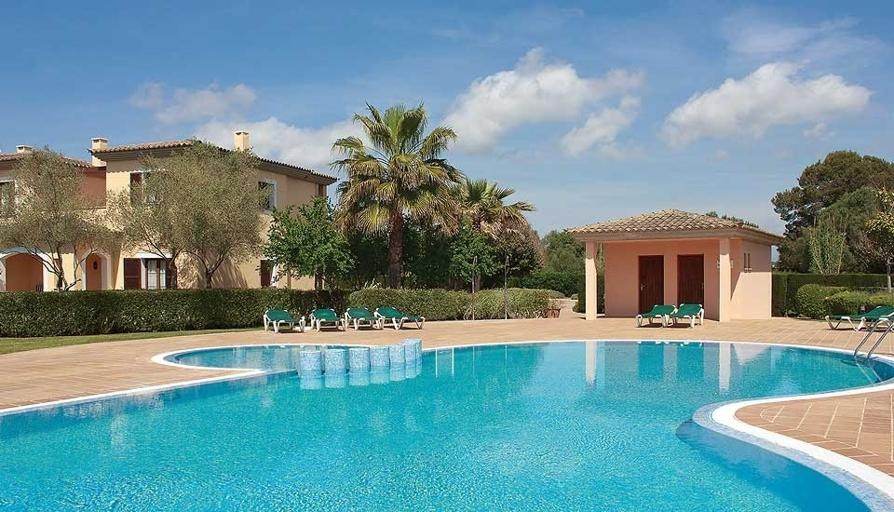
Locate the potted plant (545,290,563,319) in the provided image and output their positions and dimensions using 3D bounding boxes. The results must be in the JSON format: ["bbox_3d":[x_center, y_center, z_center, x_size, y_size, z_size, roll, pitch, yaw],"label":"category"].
[{"bbox_3d":[6.840,3.157,42.012,1.345,1.633,1.511,3,-2,2],"label":"potted plant"}]
